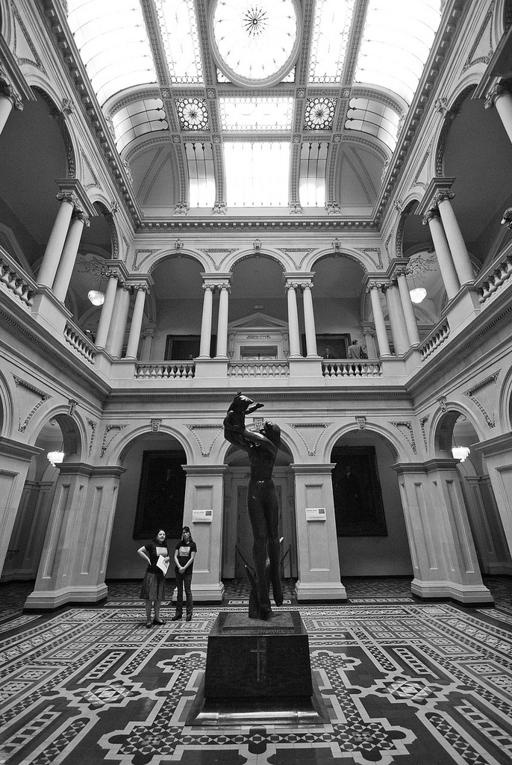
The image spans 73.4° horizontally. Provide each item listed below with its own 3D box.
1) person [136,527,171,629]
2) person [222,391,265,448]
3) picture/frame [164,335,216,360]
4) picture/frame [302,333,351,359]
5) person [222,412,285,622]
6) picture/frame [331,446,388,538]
[{"bbox_3d":[-1.625,2.995,5.404,0.421,1.340,1.130,4,-22,-14],"label":"person"},{"bbox_3d":[-0.195,0.321,3.671,0.520,0.799,0.500,-2,9,-5],"label":"person"},{"bbox_3d":[-2.436,-1.259,12.341,1.976,1.195,0.988,0,-27,-1],"label":"picture/frame"},{"bbox_3d":[2.295,-1.183,11.036,1.340,1.068,0.162,-1,-33,-4],"label":"picture/frame"},{"bbox_3d":[-0.002,1.091,3.250,0.534,1.949,0.798,-3,-22,4],"label":"person"},{"bbox_3d":[2.892,2.967,9.736,1.333,2.356,0.357,-4,-22,7],"label":"picture/frame"}]
